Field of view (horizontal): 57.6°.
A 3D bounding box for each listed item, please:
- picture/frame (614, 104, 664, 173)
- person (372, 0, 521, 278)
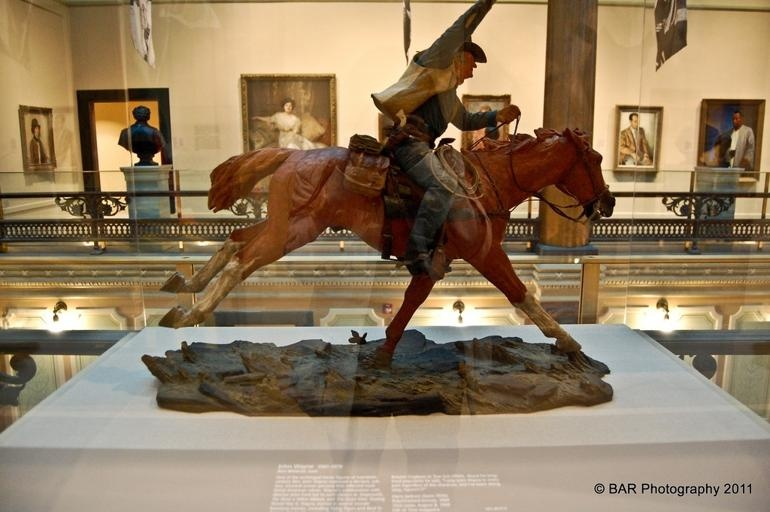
[{"bbox_3d":[1.425,-0.666,3.960,0.245,0.364,0.085,1,12,16],"label":"picture/frame"},{"bbox_3d":[0.316,-0.664,3.977,0.768,1.485,0.325,-2,11,-1],"label":"person"}]
